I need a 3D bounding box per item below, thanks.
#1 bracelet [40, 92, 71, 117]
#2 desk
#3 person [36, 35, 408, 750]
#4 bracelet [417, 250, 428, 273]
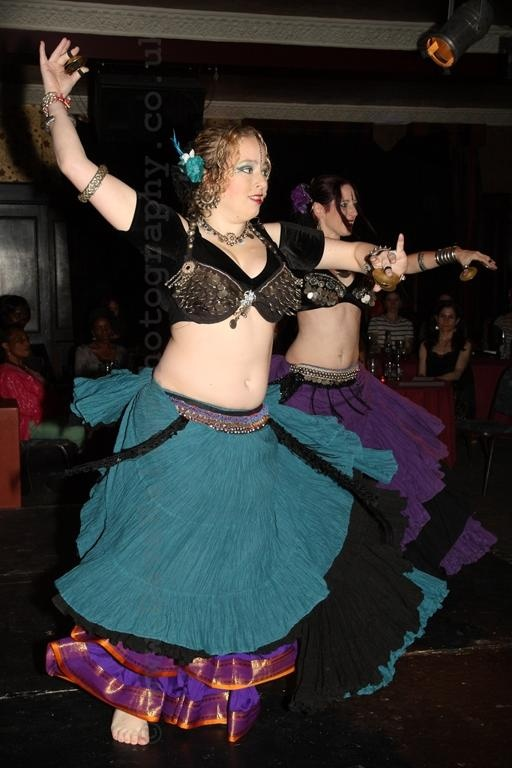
[{"bbox_3d":[-0.471,-0.651,1.564,0.076,0.031,0.053,-6,44,-16],"label":"bracelet"},{"bbox_3d":[1.130,0.289,4.904,0.638,0.534,0.605,1,3,-1],"label":"desk"},{"bbox_3d":[-0.088,0.054,1.719,0.891,1.776,0.342,0,4,-16],"label":"person"},{"bbox_3d":[0.459,-0.333,1.852,0.014,0.053,0.053,-4,45,12],"label":"bracelet"}]
